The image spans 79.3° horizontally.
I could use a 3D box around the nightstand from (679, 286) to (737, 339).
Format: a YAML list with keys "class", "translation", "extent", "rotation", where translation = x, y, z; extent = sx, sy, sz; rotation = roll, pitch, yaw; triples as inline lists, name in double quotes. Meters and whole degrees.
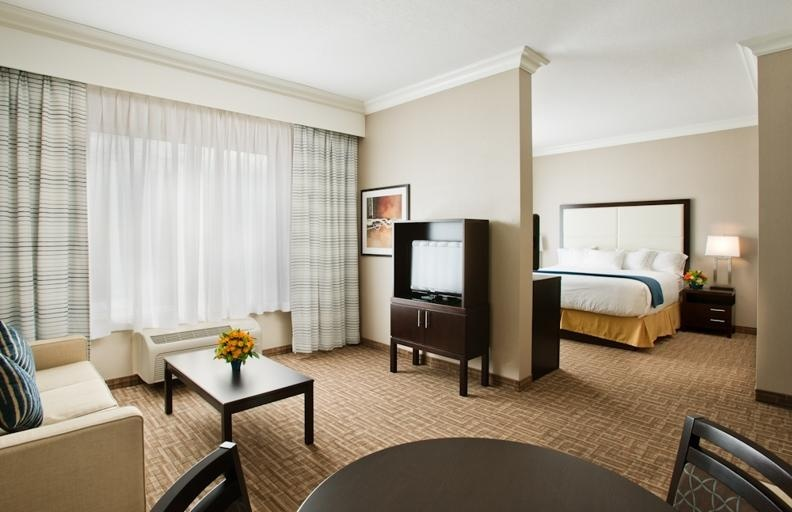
- class: "nightstand"
  translation: [4.739, 0.826, 7.318]
  extent: [0.786, 0.757, 0.682]
  rotation: [1, 2, 39]

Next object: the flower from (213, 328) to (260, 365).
- class: "flower"
  translation: [-1.524, 0.869, 4.655]
  extent: [0.409, 0.309, 0.416]
  rotation: [1, 1, 43]

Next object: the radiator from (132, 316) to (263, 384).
- class: "radiator"
  translation: [-2.344, 1.057, 5.564]
  extent: [1.533, 0.593, 0.973]
  rotation: [7, 2, -41]

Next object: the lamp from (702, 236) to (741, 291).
- class: "lamp"
  translation: [5.029, 0.122, 7.457]
  extent: [0.500, 0.839, 0.504]
  rotation: [-1, 2, -40]

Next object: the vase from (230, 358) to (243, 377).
- class: "vase"
  translation: [-1.518, 1.060, 4.522]
  extent: [0.140, 0.114, 0.152]
  rotation: [3, -2, -19]

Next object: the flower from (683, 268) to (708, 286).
- class: "flower"
  translation: [4.712, 0.341, 7.550]
  extent: [0.273, 0.182, 0.263]
  rotation: [0, 1, -25]

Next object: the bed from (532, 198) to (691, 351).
- class: "bed"
  translation: [3.335, 0.180, 7.723]
  extent: [2.419, 1.965, 2.476]
  rotation: [-3, 3, -41]

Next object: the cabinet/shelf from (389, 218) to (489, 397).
- class: "cabinet/shelf"
  translation: [0.553, 0.524, 5.531]
  extent: [0.628, 1.769, 1.446]
  rotation: [3, 2, -36]
